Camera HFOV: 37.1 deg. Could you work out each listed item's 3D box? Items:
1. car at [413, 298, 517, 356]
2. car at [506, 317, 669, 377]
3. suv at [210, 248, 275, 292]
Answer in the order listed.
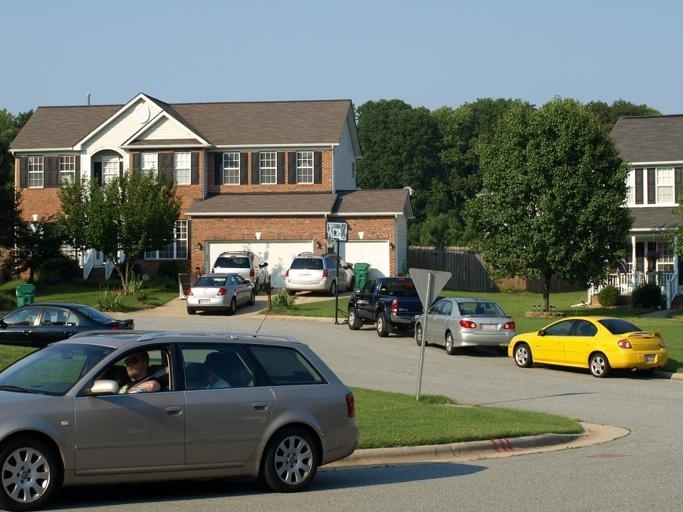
[{"bbox_3d":[3.489,1.991,30.578,1.490,1.204,3.252,0,3,-15],"label":"car"},{"bbox_3d":[6.596,2.373,27.115,1.648,1.270,3.501,1,2,-43],"label":"car"},{"bbox_3d":[-4.016,0.567,42.987,1.492,1.347,3.476,0,3,10],"label":"suv"}]
